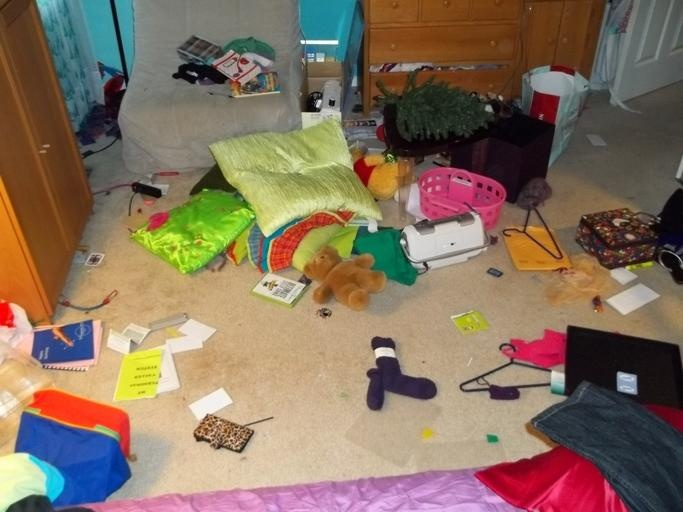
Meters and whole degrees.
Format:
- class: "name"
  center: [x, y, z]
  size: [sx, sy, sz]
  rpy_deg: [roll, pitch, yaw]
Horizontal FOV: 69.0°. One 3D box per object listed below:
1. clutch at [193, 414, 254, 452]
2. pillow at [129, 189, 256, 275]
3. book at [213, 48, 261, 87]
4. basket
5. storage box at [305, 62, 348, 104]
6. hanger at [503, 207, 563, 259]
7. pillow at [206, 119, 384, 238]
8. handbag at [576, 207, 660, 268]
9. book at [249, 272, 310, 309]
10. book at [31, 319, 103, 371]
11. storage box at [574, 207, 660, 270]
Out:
- class: "clutch"
  center: [-0.441, 0.657, 1.849]
  size: [0.166, 0.046, 0.107]
  rpy_deg: [16, 45, 12]
- class: "pillow"
  center: [-0.745, -0.154, 2.539]
  size: [0.416, 0.180, 0.510]
  rpy_deg: [35, 53, 30]
- class: "book"
  center: [-0.682, -1.241, 3.243]
  size: [0.260, 0.069, 0.260]
  rpy_deg: [34, 58, 17]
- class: "basket"
  center: [0.643, -0.329, 2.728]
  size: [0.482, 0.217, 0.323]
  rpy_deg: [24, 49, 22]
- class: "storage box"
  center: [-0.125, -1.358, 3.748]
  size: [0.299, 0.327, 0.426]
  rpy_deg: [-3, 44, -3]
- class: "hanger"
  center: [1.019, -0.109, 2.610]
  size: [0.221, 0.012, 0.281]
  rpy_deg: [-8, 61, -2]
- class: "pillow"
  center: [-0.231, -0.415, 2.617]
  size: [0.742, 0.344, 0.635]
  rpy_deg: [-19, 47, -19]
- class: "handbag"
  center: [1.372, -0.090, 2.479]
  size: [0.269, 0.167, 0.283]
  rpy_deg: [-9, 45, -9]
- class: "book"
  center: [-0.295, 0.154, 2.367]
  size: [0.224, 0.029, 0.155]
  rpy_deg: [19, 47, 19]
- class: "book"
  center: [-1.193, 0.412, 2.163]
  size: [0.220, 0.052, 0.217]
  rpy_deg: [-6, 49, -13]
- class: "storage box"
  center: [1.372, -0.090, 2.479]
  size: [0.268, 0.167, 0.285]
  rpy_deg: [-9, 45, -9]
